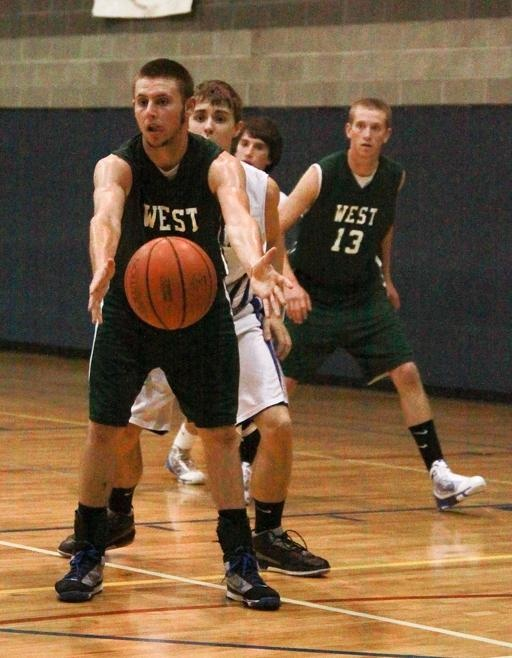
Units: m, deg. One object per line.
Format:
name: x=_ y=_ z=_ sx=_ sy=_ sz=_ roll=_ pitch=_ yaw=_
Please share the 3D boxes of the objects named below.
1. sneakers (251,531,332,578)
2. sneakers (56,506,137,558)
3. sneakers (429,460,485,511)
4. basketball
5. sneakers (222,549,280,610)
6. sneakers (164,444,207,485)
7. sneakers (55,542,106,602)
sneakers: x=0.085 y=0.548 z=1.941 sx=0.254 sy=0.097 sz=0.085 roll=-4 pitch=-4 yaw=43
sneakers: x=-0.407 y=0.506 z=1.957 sx=0.083 sy=0.098 sz=0.242 roll=-3 pitch=-2 yaw=40
sneakers: x=0.711 y=0.540 z=2.782 sx=0.095 sy=0.168 sz=0.241 roll=-1 pitch=-26 yaw=-26
basketball: x=-0.154 y=-0.077 z=1.445 sx=0.193 sy=0.185 sz=0.176 roll=-1 pitch=0 yaw=1
sneakers: x=-0.009 y=0.498 z=1.559 sx=0.080 sy=0.088 sz=0.167 roll=3 pitch=-8 yaw=-27
sneakers: x=-0.288 y=0.560 z=3.180 sx=0.086 sy=0.140 sz=0.232 roll=-5 pitch=6 yaw=-43
sneakers: x=-0.338 y=0.488 z=1.536 sx=0.055 sy=0.060 sz=0.137 roll=-3 pitch=-8 yaw=6
